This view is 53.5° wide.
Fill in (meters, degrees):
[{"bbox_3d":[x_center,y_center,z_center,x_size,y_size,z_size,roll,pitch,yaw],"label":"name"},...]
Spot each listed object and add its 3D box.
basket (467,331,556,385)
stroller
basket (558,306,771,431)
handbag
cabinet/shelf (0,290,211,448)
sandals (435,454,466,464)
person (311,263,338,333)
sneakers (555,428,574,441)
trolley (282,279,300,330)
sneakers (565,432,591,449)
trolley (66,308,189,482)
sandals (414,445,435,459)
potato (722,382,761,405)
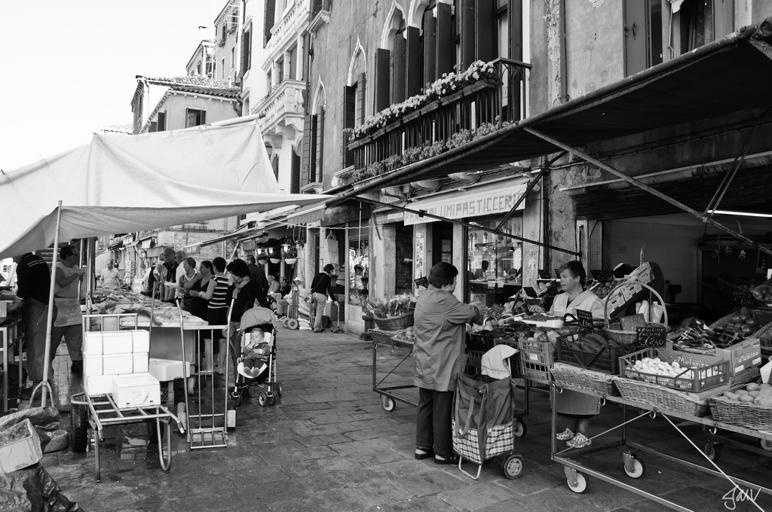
[{"bbox_3d":[1.625,1.297,9.825,0.532,0.424,0.950,1,1,-28],"label":"basket"},{"bbox_3d":[-2.085,1.529,12.117,0.845,1.408,0.925,3,8,28],"label":"stroller"},{"bbox_3d":[3.421,1.367,8.831,1.584,0.616,1.618,-10,-1,-3],"label":"basket"},{"bbox_3d":[1.242,1.905,9.662,0.761,0.798,0.652,-3,-11,25],"label":"handbag"},{"bbox_3d":[-3.435,1.475,10.926,1.656,1.842,2.409,1,0,-31],"label":"cabinet/shelf"},{"bbox_3d":[0.844,2.591,9.925,0.362,0.139,0.140,0,-3,-10],"label":"sandals"},{"bbox_3d":[-1.698,1.124,20.618,0.732,1.611,1.171,-2,0,-4],"label":"person"},{"bbox_3d":[2.365,2.348,10.126,0.277,0.113,0.149,9,-3,-40],"label":"sneakers"},{"bbox_3d":[-2.767,1.457,22.735,0.438,1.283,0.580,6,13,-4],"label":"trolley"},{"bbox_3d":[2.529,2.364,9.920,0.183,0.116,0.266,-4,-6,26],"label":"sneakers"},{"bbox_3d":[-3.473,1.783,9.997,1.138,1.783,2.223,-2,5,-32],"label":"trolley"},{"bbox_3d":[0.516,2.588,10.155,0.306,0.134,0.114,2,-2,-45],"label":"sandals"},{"bbox_3d":[3.940,1.505,8.444,0.431,0.223,0.441,-3,0,21],"label":"potato"}]
